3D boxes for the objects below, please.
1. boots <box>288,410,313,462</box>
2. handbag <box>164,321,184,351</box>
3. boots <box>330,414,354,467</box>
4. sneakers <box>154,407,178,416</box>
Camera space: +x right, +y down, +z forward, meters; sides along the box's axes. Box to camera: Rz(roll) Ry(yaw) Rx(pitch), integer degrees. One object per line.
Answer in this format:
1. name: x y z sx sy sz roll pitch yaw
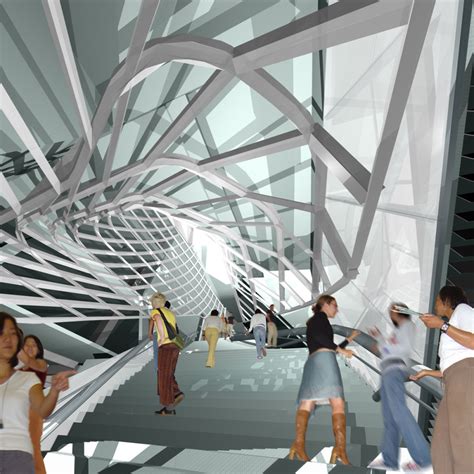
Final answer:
1. boots: 0.764 2.443 3.592 0.250 0.475 0.548 -2 -16 13
2. handbag: -1.439 2.329 6.766 0.419 0.552 0.235 5 -17 -12
3. boots: 1.194 2.400 3.495 0.196 0.462 0.394 -3 -17 16
4. sneakers: -1.497 3.742 6.262 0.499 0.188 0.176 3 -23 6
